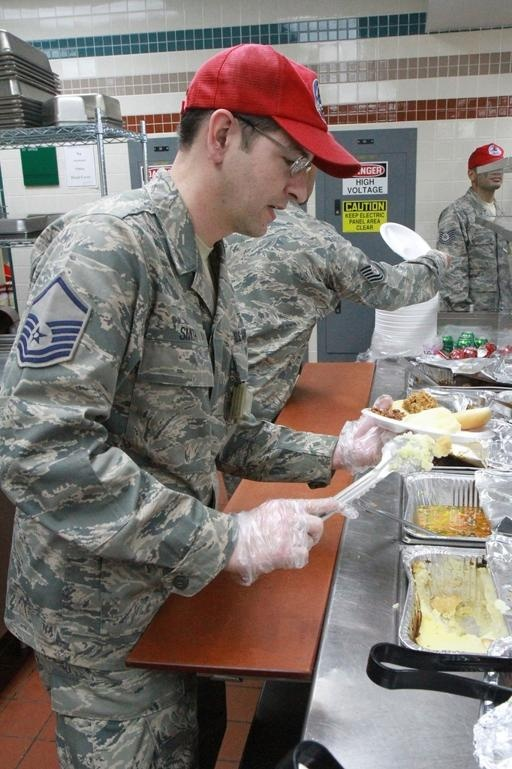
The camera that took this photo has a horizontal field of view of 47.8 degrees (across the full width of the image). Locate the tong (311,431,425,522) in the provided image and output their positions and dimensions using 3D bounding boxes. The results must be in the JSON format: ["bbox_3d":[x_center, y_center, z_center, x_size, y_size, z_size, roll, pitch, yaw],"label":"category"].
[{"bbox_3d":[0.234,0.153,1.030,0.256,0.060,0.103,-36,32,-13],"label":"tong"}]

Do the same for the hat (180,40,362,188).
[{"bbox_3d":[0.019,-0.384,0.881,0.253,0.123,0.156,19,22,-8],"label":"hat"}]

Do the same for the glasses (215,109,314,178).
[{"bbox_3d":[0.023,-0.342,0.836,0.092,0.025,0.068,37,9,-5],"label":"glasses"}]

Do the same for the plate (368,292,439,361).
[{"bbox_3d":[0.635,-0.258,2.566,0.287,0.293,0.276,4,17,10],"label":"plate"}]

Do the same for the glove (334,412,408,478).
[{"bbox_3d":[0.238,0.132,1.239,0.057,0.142,0.106,40,2,-39],"label":"glove"}]
